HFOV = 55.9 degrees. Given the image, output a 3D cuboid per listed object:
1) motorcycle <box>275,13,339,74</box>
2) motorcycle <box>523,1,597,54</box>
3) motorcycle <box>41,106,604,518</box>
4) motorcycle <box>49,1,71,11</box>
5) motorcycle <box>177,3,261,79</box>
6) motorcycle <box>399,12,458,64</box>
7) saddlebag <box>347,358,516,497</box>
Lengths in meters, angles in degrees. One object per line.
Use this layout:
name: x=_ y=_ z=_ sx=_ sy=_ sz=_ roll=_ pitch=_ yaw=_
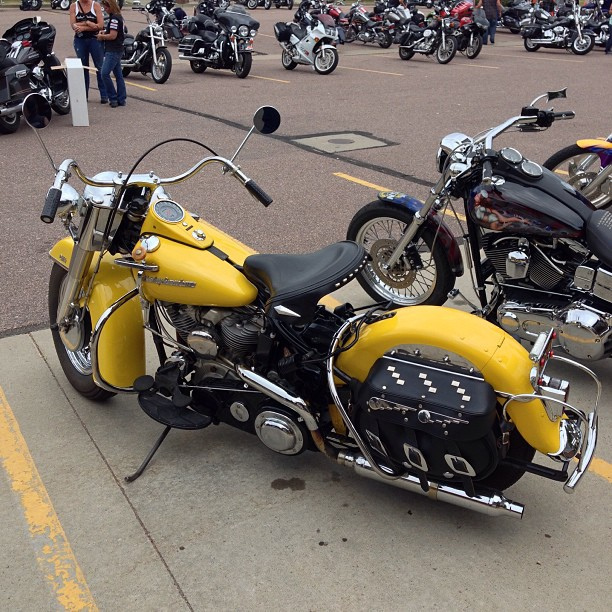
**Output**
motorcycle: x=0.190 y=-6.984 z=15.281 sx=1.908 sy=1.385 sz=0.843 roll=22 pitch=34 yaw=32
motorcycle: x=8.781 y=-9.646 z=19.839 sx=2.768 sy=1.490 sz=1.550 roll=12 pitch=36 yaw=16
motorcycle: x=-0.241 y=-0.144 z=3.236 sx=3.542 sy=1.623 sz=1.478 roll=17 pitch=36 yaw=22
motorcycle: x=-13.516 y=-16.641 z=31.761 sx=1.038 sy=0.479 sz=0.734 roll=-5 pitch=28 yaw=-16
motorcycle: x=-2.105 y=-6.722 z=14.633 sx=2.293 sy=1.573 sz=1.065 roll=19 pitch=32 yaw=28
motorcycle: x=3.822 y=-8.174 z=17.633 sx=1.726 sy=1.249 sz=0.891 roll=15 pitch=30 yaw=21
saddlebag: x=0.431 y=0.473 z=2.209 sx=0.635 sy=0.525 sz=0.213 roll=15 pitch=31 yaw=20
